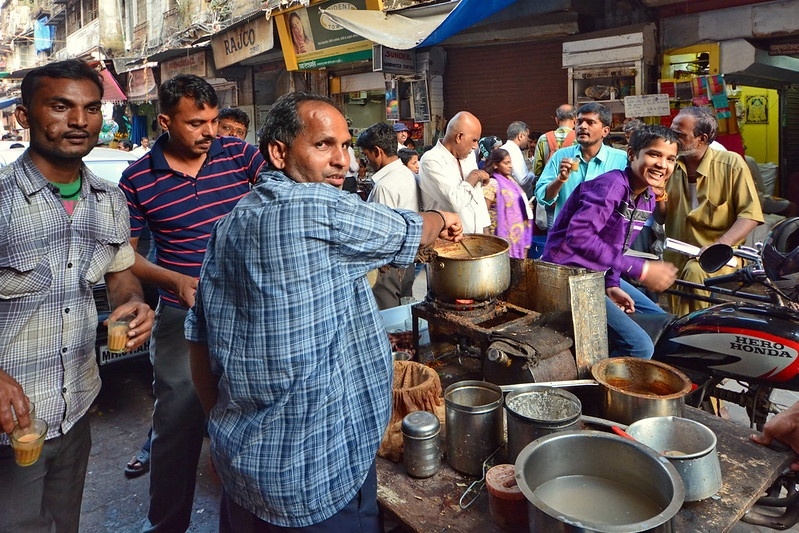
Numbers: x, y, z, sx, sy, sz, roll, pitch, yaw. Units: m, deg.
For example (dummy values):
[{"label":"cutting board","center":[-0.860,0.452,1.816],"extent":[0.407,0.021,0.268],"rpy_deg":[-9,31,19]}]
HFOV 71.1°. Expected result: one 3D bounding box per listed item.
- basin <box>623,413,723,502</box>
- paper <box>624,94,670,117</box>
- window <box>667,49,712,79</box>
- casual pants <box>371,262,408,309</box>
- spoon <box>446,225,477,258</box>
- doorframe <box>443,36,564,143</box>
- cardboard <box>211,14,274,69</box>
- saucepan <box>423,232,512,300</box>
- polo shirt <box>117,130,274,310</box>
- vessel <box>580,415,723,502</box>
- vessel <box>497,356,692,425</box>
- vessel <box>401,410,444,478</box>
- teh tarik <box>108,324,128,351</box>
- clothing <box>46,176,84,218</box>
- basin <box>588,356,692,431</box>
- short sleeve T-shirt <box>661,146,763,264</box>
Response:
[{"label":"basin","center":[1.319,0.903,2.752],"extent":[0.387,0.225,0.392],"rpy_deg":[-19,12,4]},{"label":"paper","center":[3.354,-2.195,7.595],"extent":[0.576,0.287,0.213],"rpy_deg":[9,19,29]},{"label":"window","center":[4.047,-2.859,7.855],"extent":[0.442,0.282,0.466],"rpy_deg":[8,17,42]},{"label":"casual pants","center":[-0.094,0.171,4.757],"extent":[0.125,0.394,0.383],"rpy_deg":[9,11,39]},{"label":"spoon","center":[0.436,-0.177,4.068],"extent":[0.094,0.222,0.122],"rpy_deg":[-7,-12,-27]},{"label":"doorframe","center":[1.777,-2.918,9.076],"extent":[2.619,1.741,0.106],"rpy_deg":[9,18,44]},{"label":"cardboard","center":[-3.583,-5.194,12.746],"extent":[0.229,0.588,1.718],"rpy_deg":[-18,15,-39]},{"label":"saucepan","center":[0.448,0.022,3.731],"extent":[0.487,0.214,0.547],"rpy_deg":[4,20,20]},{"label":"polo shirt","center":[-1.211,-0.283,3.318],"extent":[1.046,0.843,0.345],"rpy_deg":[-19,21,-23]},{"label":"vessel","center":[1.259,0.879,2.814],"extent":[0.577,0.207,0.378],"rpy_deg":[0,9,43]},{"label":"vessel","center":[1.078,0.731,3.105],"extent":[0.995,0.263,0.451],"rpy_deg":[-9,15,-5]},{"label":"vessel","center":[0.112,0.912,2.834],"extent":[0.224,0.333,0.235],"rpy_deg":[5,17,25]},{"label":"teh tarik","center":[-1.493,0.373,2.981],"extent":[0.098,0.149,0.096],"rpy_deg":[12,9,-10]},{"label":"clothing","center":[-1.795,-0.372,3.003],"extent":[0.133,0.180,0.135],"rpy_deg":[-8,-17,-32]},{"label":"basin","center":[1.338,0.698,3.132],"extent":[0.494,0.180,0.323],"rpy_deg":[-4,12,13]},{"label":"short sleeve T-shirt","center":[2.648,-0.532,4.818],"extent":[0.483,0.906,0.930],"rpy_deg":[-29,30,-25]}]
